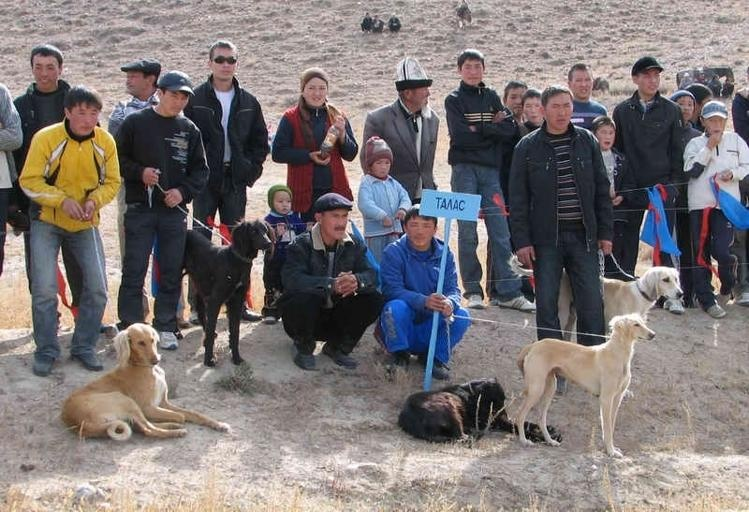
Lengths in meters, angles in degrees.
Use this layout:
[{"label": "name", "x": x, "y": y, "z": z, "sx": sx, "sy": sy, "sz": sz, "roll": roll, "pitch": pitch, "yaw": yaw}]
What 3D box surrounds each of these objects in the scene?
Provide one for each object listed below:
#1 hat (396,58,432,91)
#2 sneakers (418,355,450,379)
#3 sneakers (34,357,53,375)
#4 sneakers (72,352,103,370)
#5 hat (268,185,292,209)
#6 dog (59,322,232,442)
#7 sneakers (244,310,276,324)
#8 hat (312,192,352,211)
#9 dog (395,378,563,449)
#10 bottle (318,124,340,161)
[{"label": "hat", "x": 0.536, "y": -2.673, "z": 14.452, "sx": 0.520, "sy": 0.402, "sz": 0.391, "roll": -7, "pitch": 21, "yaw": 1}, {"label": "sneakers", "x": 0.782, "y": 1.518, "z": 13.358, "sx": 0.170, "sy": 0.195, "sz": 0.472, "roll": -12, "pitch": 20, "yaw": -37}, {"label": "sneakers", "x": -4.157, "y": 1.396, "z": 12.410, "sx": 0.226, "sy": 0.186, "sz": 0.206, "roll": -1, "pitch": 6, "yaw": -18}, {"label": "sneakers", "x": -3.668, "y": 1.325, "z": 12.643, "sx": 0.428, "sy": 0.186, "sz": 0.178, "roll": 17, "pitch": 17, "yaw": 11}, {"label": "hat", "x": -1.417, "y": -0.842, "z": 14.179, "sx": 0.274, "sy": 0.395, "sz": 0.311, "roll": -2, "pitch": -7, "yaw": -28}, {"label": "dog", "x": -2.771, "y": 1.502, "z": 11.908, "sx": 1.814, "sy": 1.325, "sz": 1.140, "roll": -1, "pitch": 2, "yaw": -2}, {"label": "sneakers", "x": -1.669, "y": 0.879, "z": 14.374, "sx": 0.550, "sy": 0.256, "sz": 0.193, "roll": -3, "pitch": -3, "yaw": 8}, {"label": "hat", "x": -0.581, "y": -0.684, "z": 13.029, "sx": 0.327, "sy": 0.136, "sz": 0.292, "roll": -4, "pitch": -4, "yaw": 45}, {"label": "dog", "x": 1.183, "y": 1.956, "z": 12.494, "sx": 1.608, "sy": 0.741, "sz": 0.899, "roll": 0, "pitch": -14, "yaw": -16}, {"label": "bottle", "x": -0.640, "y": -1.584, "z": 13.926, "sx": 0.265, "sy": 0.452, "sz": 0.350, "roll": 0, "pitch": 6, "yaw": -2}]
